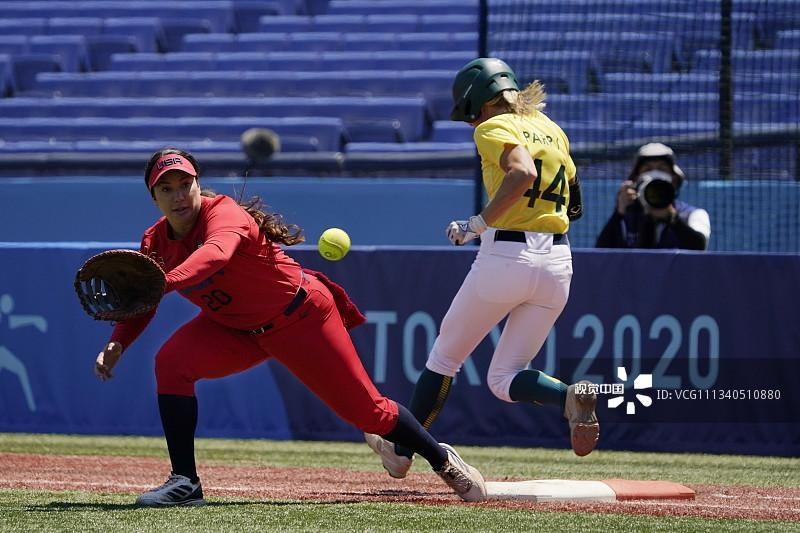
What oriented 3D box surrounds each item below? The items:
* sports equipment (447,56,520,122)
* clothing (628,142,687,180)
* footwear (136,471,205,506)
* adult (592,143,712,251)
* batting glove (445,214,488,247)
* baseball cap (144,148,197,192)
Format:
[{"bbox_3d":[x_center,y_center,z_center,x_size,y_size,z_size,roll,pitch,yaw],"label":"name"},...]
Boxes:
[{"bbox_3d":[0.685,-1.454,12.673,0.689,0.488,0.587,-13,-3,5],"label":"sports equipment"},{"bbox_3d":[2.273,-0.938,13.904,0.471,0.328,0.332,-2,3,1],"label":"clothing"},{"bbox_3d":[-1.760,1.737,12.125,0.534,0.207,0.215,3,-8,-8],"label":"footwear"},{"bbox_3d":[2.204,-0.649,14.078,1.105,1.403,0.979,-1,-1,0],"label":"adult"},{"bbox_3d":[0.521,-0.277,12.236,0.303,0.118,0.216,-14,12,9],"label":"batting glove"},{"bbox_3d":[-1.728,-0.750,12.073,0.388,0.166,0.501,-13,-5,1],"label":"baseball cap"}]
